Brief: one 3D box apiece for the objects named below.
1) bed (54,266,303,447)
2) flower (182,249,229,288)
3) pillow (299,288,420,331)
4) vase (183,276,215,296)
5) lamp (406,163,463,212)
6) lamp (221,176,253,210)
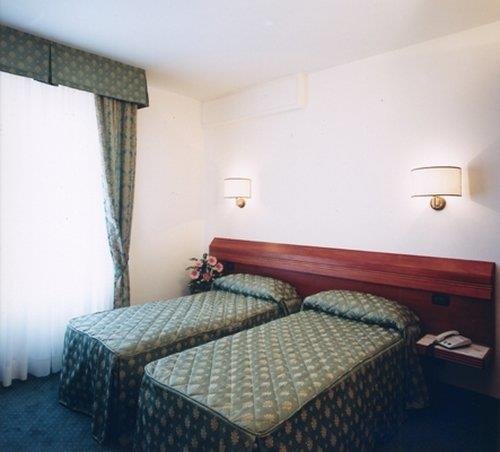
[{"bbox_3d":[-0.514,0.958,3.432,1.872,0.788,1.197,-3,3,-44],"label":"bed"},{"bbox_3d":[-0.498,0.503,4.411,0.372,0.414,0.375,-1,-13,-39],"label":"flower"},{"bbox_3d":[0.832,0.652,3.230,0.800,0.218,0.480,6,1,38],"label":"pillow"},{"bbox_3d":[-0.558,0.656,4.413,0.293,0.200,0.320,-27,2,-19],"label":"vase"},{"bbox_3d":[1.350,-0.267,2.996,0.263,0.359,0.325,-10,11,-33],"label":"lamp"},{"bbox_3d":[-0.133,-0.343,4.297,0.288,0.329,0.291,2,11,10],"label":"lamp"}]
